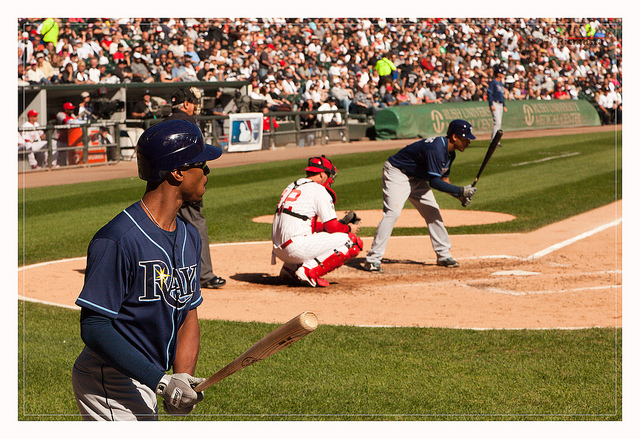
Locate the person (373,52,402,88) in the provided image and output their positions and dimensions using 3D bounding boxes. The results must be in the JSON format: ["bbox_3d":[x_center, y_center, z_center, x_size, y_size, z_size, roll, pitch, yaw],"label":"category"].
[{"bbox_3d":[2.242,-5.157,33.781,0.886,0.392,1.193,-2,26,5],"label":"person"}]

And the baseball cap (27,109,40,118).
[{"bbox_3d":[-7.469,-2.721,25.427,0.333,0.163,0.218,-8,11,16],"label":"baseball cap"}]

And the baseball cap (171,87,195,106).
[{"bbox_3d":[-2.142,-1.916,15.375,0.330,0.290,0.233,17,-7,-40],"label":"baseball cap"}]

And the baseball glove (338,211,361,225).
[{"bbox_3d":[0.503,-0.028,17.251,0.372,0.093,0.145,-19,22,-4],"label":"baseball glove"}]

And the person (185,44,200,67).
[{"bbox_3d":[-4.171,-5.386,32.116,0.446,0.737,0.623,1,6,3],"label":"person"}]

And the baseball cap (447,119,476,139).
[{"bbox_3d":[2.372,-1.548,16.543,0.404,0.217,0.293,9,15,-7],"label":"baseball cap"}]

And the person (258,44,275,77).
[{"bbox_3d":[-1.809,-5.362,33.093,0.541,1.098,1.807,1,6,6],"label":"person"}]

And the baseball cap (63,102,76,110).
[{"bbox_3d":[-6.777,-3.073,26.528,0.275,0.141,0.210,-11,17,7],"label":"baseball cap"}]

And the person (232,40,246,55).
[{"bbox_3d":[-2.764,-5.849,33.288,0.396,0.518,0.843,0,6,-3],"label":"person"}]

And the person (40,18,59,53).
[{"bbox_3d":[-8.181,-5.625,29.896,0.576,1.031,0.633,-3,7,-28],"label":"person"}]

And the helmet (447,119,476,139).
[{"bbox_3d":[2.384,-1.539,16.540,0.397,0.214,0.275,12,16,-11],"label":"helmet"}]
